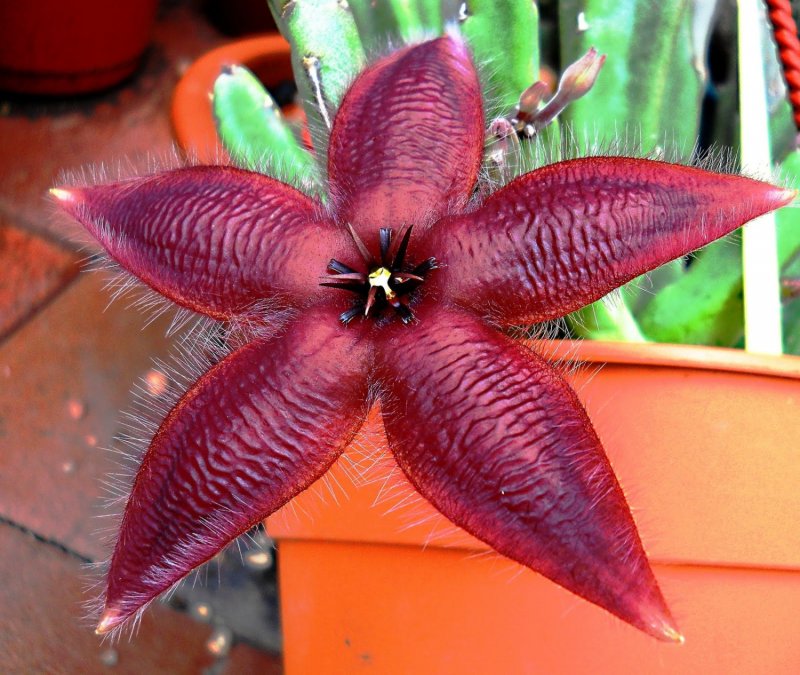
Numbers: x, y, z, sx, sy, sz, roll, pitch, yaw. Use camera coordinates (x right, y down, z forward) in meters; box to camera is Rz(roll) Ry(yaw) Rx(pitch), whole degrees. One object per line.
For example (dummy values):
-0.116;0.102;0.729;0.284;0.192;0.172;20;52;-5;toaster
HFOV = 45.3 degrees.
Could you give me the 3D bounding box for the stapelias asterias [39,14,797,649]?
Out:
0.028;0.004;0.831;0.636;0.174;0.517;-9;60;0;stapelias asterias
